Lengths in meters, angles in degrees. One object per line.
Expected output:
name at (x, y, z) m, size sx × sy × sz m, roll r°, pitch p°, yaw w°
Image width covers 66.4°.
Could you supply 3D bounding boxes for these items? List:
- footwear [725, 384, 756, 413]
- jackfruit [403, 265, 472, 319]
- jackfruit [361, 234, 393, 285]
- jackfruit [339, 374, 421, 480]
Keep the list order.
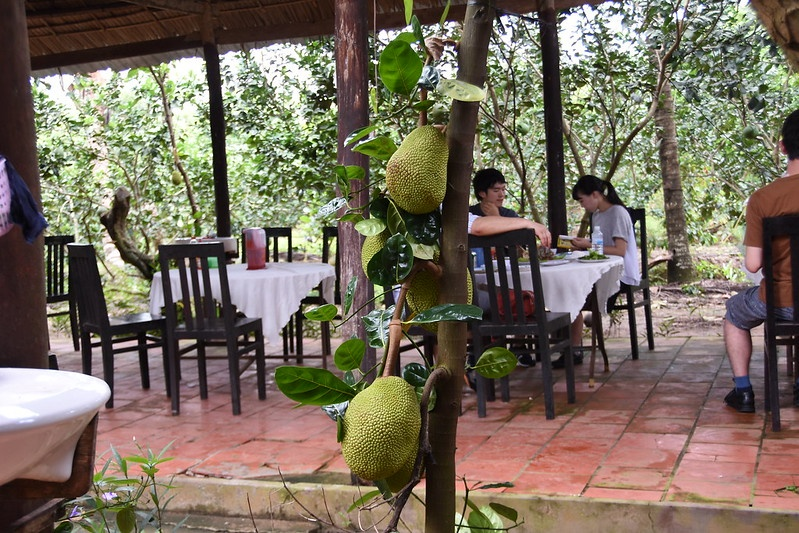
footwear at (2.230, 0.877, 4.020) m, size 0.098 × 0.106 × 0.255 m, roll -1°, pitch 1°, yaw 9°
jackfruit at (0.055, 0.058, 1.262) m, size 0.117 × 0.113 × 0.046 m, roll -1°, pitch -9°, yaw 22°
jackfruit at (-0.046, -0.020, 1.228) m, size 0.057 × 0.097 × 0.104 m, roll -5°, pitch 4°, yaw -2°
jackfruit at (-0.033, 0.293, 1.131) m, size 0.146 × 0.152 × 0.183 m, roll 17°, pitch -12°, yaw -25°
